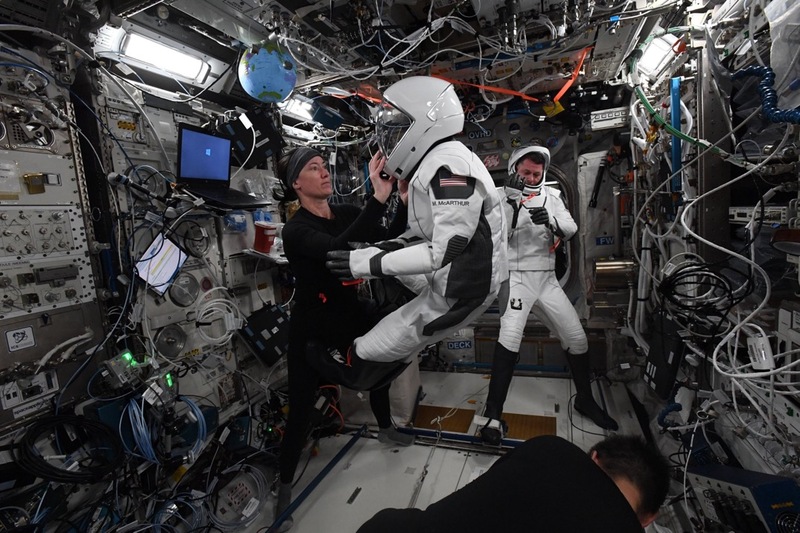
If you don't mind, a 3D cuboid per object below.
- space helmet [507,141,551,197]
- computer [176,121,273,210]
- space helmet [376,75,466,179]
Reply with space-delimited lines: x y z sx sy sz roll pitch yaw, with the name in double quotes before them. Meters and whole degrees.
"space helmet" 1.401 -1.124 5.524 0.451 0.549 0.544 8 17 2
"computer" -1.775 -1.026 5.004 0.643 0.725 0.797 14 12 20
"space helmet" 0.209 -1.196 4.234 0.836 0.765 0.666 1 12 8
